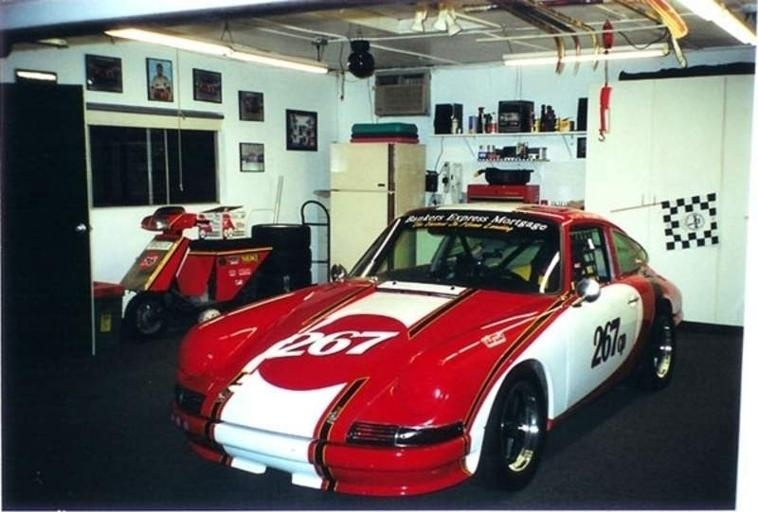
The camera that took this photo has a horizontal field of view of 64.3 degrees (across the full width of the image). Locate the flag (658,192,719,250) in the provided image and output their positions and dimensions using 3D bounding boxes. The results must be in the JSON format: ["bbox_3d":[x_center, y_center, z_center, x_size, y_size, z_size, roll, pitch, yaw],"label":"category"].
[{"bbox_3d":[3.856,-0.438,7.425,0.730,0.717,0.106,0,3,25],"label":"flag"}]

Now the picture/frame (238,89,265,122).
[{"bbox_3d":[-1.998,-2.335,9.325,0.058,0.472,0.573,0,3,38],"label":"picture/frame"}]

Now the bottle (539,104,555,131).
[{"bbox_3d":[2.575,-2.088,9.151,0.240,0.401,0.362,3,12,14],"label":"bottle"}]

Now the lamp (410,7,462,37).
[{"bbox_3d":[0.639,-2.528,6.641,0.453,0.236,0.578,0,1,5],"label":"lamp"}]

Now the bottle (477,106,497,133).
[{"bbox_3d":[1.698,-2.139,9.510,0.243,0.405,0.419,-1,12,-4],"label":"bottle"}]

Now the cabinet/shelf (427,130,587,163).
[{"bbox_3d":[1.953,-1.713,9.657,2.613,0.475,0.372,9,15,36],"label":"cabinet/shelf"}]

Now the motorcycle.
[{"bbox_3d":[-1.948,0.131,7.815,1.114,1.456,2.900,-1,1,34],"label":"motorcycle"}]

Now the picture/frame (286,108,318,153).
[{"bbox_3d":[-1.303,-2.099,10.123,0.051,0.664,0.699,7,9,41],"label":"picture/frame"}]

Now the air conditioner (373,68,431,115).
[{"bbox_3d":[0.428,-2.764,10.128,0.856,0.621,0.190,1,1,24],"label":"air conditioner"}]

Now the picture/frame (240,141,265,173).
[{"bbox_3d":[-2.001,-1.540,9.402,0.052,0.529,0.550,7,5,41],"label":"picture/frame"}]

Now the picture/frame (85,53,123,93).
[{"bbox_3d":[-3.527,-2.319,7.675,0.051,0.438,0.507,16,18,27],"label":"picture/frame"}]
